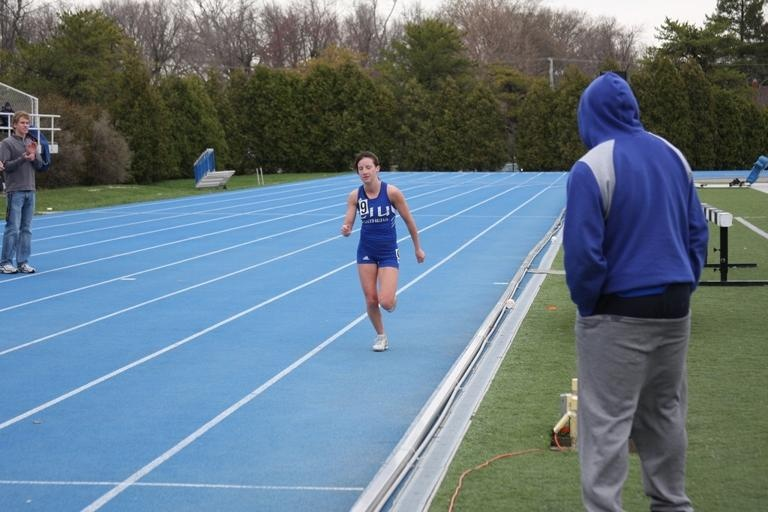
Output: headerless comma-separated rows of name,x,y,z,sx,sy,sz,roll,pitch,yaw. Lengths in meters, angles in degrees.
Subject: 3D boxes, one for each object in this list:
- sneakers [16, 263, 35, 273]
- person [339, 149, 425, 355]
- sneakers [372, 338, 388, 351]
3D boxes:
sneakers,-6.081,0.200,11.531,0.308,0.139,0.111,2,6,4
person,-0.024,-0.124,7.699,0.914,2.100,1.230,0,9,2
sneakers,-0.049,0.919,7.386,0.171,0.142,0.254,0,9,0
